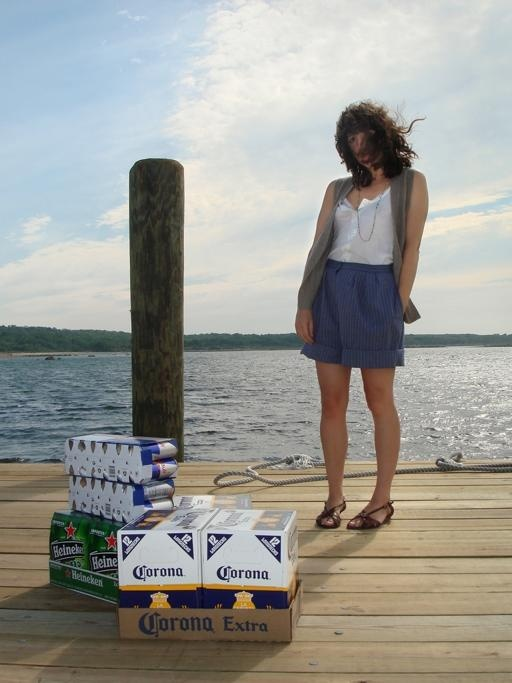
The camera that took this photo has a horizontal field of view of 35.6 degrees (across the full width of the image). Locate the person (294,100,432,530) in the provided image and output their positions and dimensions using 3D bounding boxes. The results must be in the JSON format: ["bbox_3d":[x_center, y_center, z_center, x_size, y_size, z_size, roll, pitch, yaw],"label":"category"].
[{"bbox_3d":[0.466,-0.105,3.465,0.384,1.815,0.529,4,-5,-44],"label":"person"}]

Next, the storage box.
[{"bbox_3d":[-0.214,0.710,2.505,0.535,0.162,0.477,0,6,3],"label":"storage box"}]

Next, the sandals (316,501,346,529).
[{"bbox_3d":[0.329,0.760,3.495,0.094,0.054,0.221,0,-4,17],"label":"sandals"}]

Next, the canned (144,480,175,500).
[{"bbox_3d":[-0.351,0.522,2.814,0.031,0.036,0.131,-37,-24,18],"label":"canned"}]

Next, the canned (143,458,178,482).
[{"bbox_3d":[-0.340,0.460,2.827,0.057,0.071,0.207,0,-3,14],"label":"canned"}]

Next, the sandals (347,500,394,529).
[{"bbox_3d":[0.497,0.749,3.456,0.184,0.068,0.096,1,-20,-40],"label":"sandals"}]

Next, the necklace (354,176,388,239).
[{"bbox_3d":[0.480,-0.548,3.391,0.067,0.213,0.121,5,2,-33],"label":"necklace"}]
